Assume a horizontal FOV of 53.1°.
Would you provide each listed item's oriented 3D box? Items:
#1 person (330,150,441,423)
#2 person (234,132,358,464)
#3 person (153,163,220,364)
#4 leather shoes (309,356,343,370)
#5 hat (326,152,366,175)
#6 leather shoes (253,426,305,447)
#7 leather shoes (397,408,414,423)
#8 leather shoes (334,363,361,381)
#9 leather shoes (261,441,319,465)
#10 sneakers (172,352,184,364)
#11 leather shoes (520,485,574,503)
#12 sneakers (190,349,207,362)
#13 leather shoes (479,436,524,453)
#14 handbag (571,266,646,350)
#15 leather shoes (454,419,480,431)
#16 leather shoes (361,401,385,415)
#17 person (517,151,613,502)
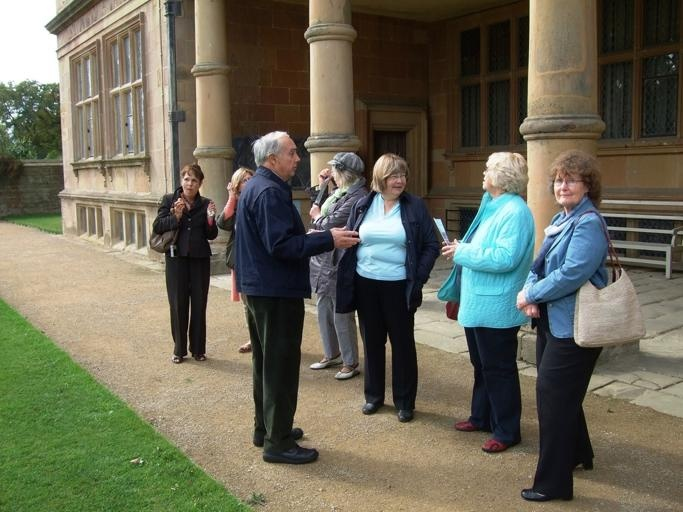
[{"bbox_3d":[0.354,0.234,5.743,0.793,2.219,0.615,2,11,10],"label":"person"},{"bbox_3d":[-0.421,0.286,5.095,0.796,2.368,0.704,-2,12,-3],"label":"person"},{"bbox_3d":[-1.615,0.061,7.087,0.655,1.996,0.461,-5,12,-16],"label":"person"},{"bbox_3d":[-0.162,1.064,6.860,0.327,0.143,0.126,-1,1,-16],"label":"leather shoes"},{"bbox_3d":[0.037,-0.858,6.216,0.256,0.130,0.192,14,12,20],"label":"hat"},{"bbox_3d":[-0.489,1.350,5.121,0.337,0.144,0.115,-13,21,-28],"label":"leather shoes"},{"bbox_3d":[0.520,1.294,5.592,0.122,0.088,0.092,-1,12,2],"label":"leather shoes"},{"bbox_3d":[0.028,1.113,6.527,0.219,0.092,0.105,5,-6,-44],"label":"leather shoes"},{"bbox_3d":[-0.380,1.413,5.026,0.364,0.162,0.162,0,1,-5],"label":"leather shoes"},{"bbox_3d":[-1.700,1.038,7.067,0.117,0.096,0.148,-5,12,-15],"label":"sneakers"},{"bbox_3d":[1.359,1.544,4.531,0.312,0.101,0.120,3,-4,2],"label":"leather shoes"},{"bbox_3d":[-1.463,1.035,7.080,0.065,0.076,0.181,0,0,-34],"label":"sneakers"},{"bbox_3d":[1.197,1.415,5.096,0.274,0.121,0.106,-6,30,1],"label":"leather shoes"},{"bbox_3d":[1.683,0.331,4.337,0.437,0.431,0.219,-6,12,-20],"label":"handbag"},{"bbox_3d":[0.997,1.348,5.420,0.159,0.070,0.087,3,1,11],"label":"leather shoes"},{"bbox_3d":[0.247,1.276,5.748,0.073,0.088,0.201,-23,-22,25],"label":"leather shoes"},{"bbox_3d":[1.444,0.461,4.530,0.541,2.262,0.599,3,12,22],"label":"person"}]
